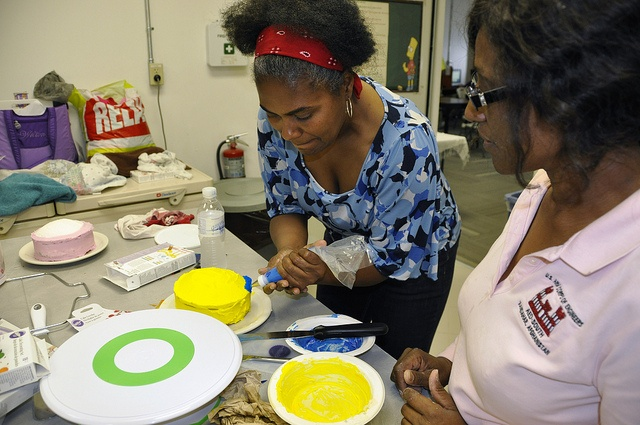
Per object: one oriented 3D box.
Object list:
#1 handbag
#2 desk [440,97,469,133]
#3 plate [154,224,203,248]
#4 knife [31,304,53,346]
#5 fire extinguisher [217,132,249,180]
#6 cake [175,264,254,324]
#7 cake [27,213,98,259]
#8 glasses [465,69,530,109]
[{"bbox_3d":[-1.271,-0.536,2.857,0.312,0.549,0.509,8,22,39],"label":"handbag"},{"bbox_3d":[2.667,-2.071,9.044,0.704,0.789,0.821,4,16,13],"label":"desk"},{"bbox_3d":[-0.602,0.107,1.924,0.181,0.047,0.227,-11,20,-18],"label":"plate"},{"bbox_3d":[-0.894,0.362,1.456,0.040,0.181,0.014,-8,20,-27],"label":"knife"},{"bbox_3d":[-0.636,-0.368,3.362,0.229,0.408,0.170,-4,19,-7],"label":"fire extinguisher"},{"bbox_3d":[-0.346,0.276,1.470,0.231,0.130,0.182,0,20,12],"label":"cake"},{"bbox_3d":[-1.012,0.086,1.810,0.218,0.141,0.218,11,26,31],"label":"cake"},{"bbox_3d":[0.395,-0.278,1.048,0.084,0.026,0.082,-14,34,4],"label":"glasses"}]
